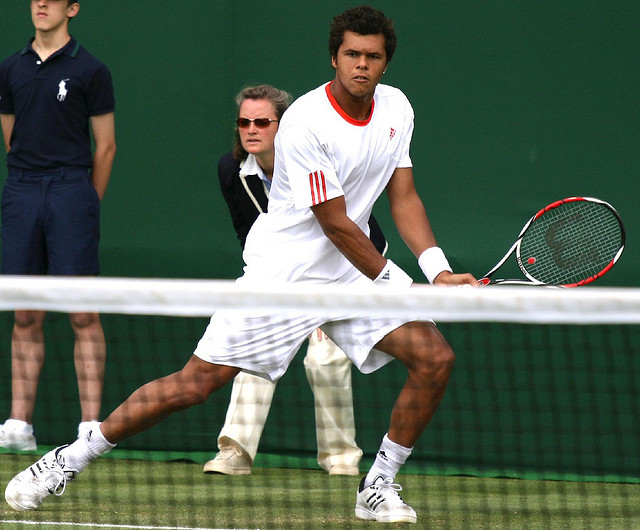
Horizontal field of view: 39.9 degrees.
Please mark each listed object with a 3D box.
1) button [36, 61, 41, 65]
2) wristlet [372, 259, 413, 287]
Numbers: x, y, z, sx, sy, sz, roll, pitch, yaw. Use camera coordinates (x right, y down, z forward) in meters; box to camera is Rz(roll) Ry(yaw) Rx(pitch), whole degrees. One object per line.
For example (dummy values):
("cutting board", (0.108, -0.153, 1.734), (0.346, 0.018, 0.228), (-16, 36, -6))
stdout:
("button", (-1.352, -0.962, 4.202), (0.019, 0.023, 0.006), (6, 0, -10))
("wristlet", (0.267, 0.067, 3.191), (0.113, 0.089, 0.096), (36, 12, -27))
